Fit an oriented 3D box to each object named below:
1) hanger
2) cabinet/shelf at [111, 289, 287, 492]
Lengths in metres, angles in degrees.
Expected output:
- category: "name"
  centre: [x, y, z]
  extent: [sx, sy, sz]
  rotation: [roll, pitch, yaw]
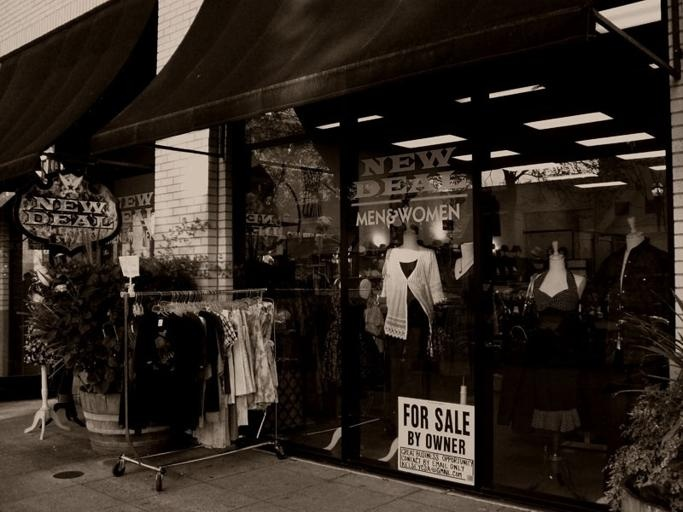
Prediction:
- category: "hanger"
  centre: [-1.663, 0.518, 7.985]
  extent: [0.833, 0.297, 0.303]
  rotation: [1, -2, -18]
- category: "cabinet/shelf"
  centre: [-1.617, 1.471, 8.208]
  extent: [0.856, 2.122, 1.871]
  rotation: [-11, -12, 42]
